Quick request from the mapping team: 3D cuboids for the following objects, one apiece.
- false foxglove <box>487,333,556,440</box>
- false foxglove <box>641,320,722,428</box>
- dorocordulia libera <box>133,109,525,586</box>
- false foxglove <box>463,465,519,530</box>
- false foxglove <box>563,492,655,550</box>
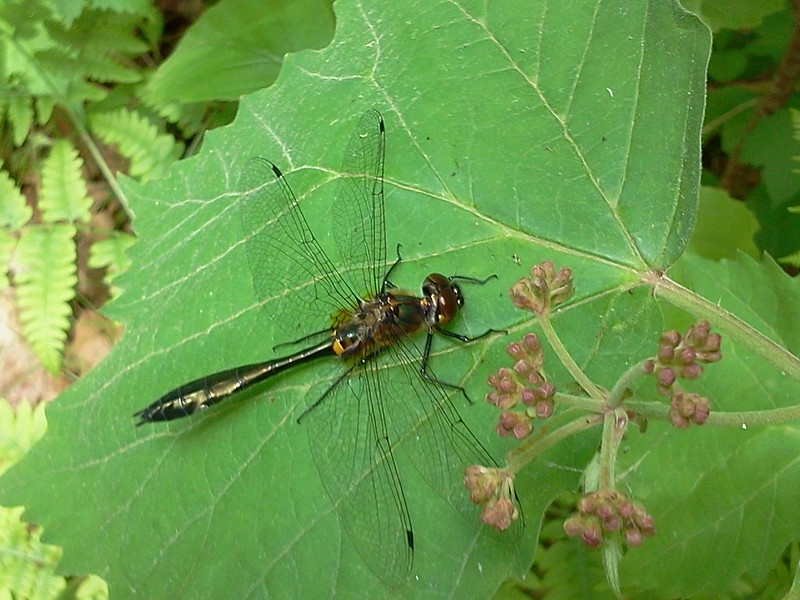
[{"bbox_3d":[0.427,0.324,3.069,0.259,0.234,0.266,-26,-53,6],"label":"false foxglove"},{"bbox_3d":[0.986,0.255,2.997,0.229,0.136,0.409,10,-97,-9],"label":"false foxglove"},{"bbox_3d":[-0.313,0.192,3.633,1.493,1.927,0.432,-13,-29,-5],"label":"dorocordulia libera"},{"bbox_3d":[0.327,0.667,3.079,0.169,0.172,0.231,11,-65,29],"label":"false foxglove"},{"bbox_3d":[0.721,0.766,2.957,0.259,0.174,0.205,22,-62,-27],"label":"false foxglove"}]
